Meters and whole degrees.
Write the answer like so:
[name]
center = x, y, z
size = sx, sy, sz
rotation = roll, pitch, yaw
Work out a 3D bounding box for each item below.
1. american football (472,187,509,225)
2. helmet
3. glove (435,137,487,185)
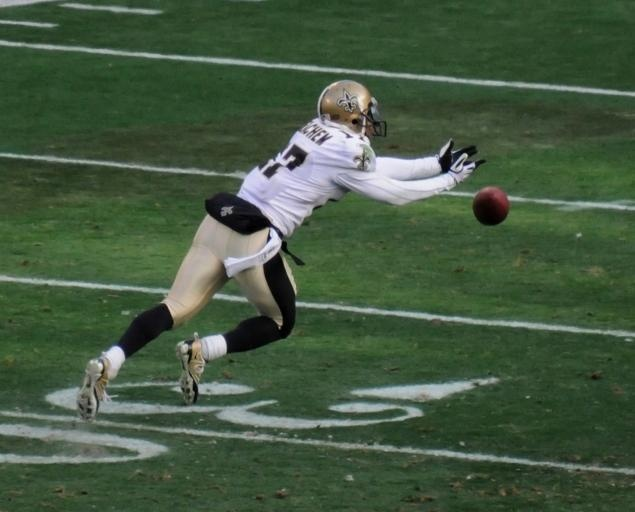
[american football]
center = 1.534, -0.410, 14.331
size = 0.410, 0.320, 0.336
rotation = 0, -2, -6
[helmet]
center = 0.257, -1.217, 13.908
size = 0.641, 0.363, 0.430
rotation = -4, 6, -33
[glove]
center = 1.279, -0.795, 14.138
size = 0.471, 0.181, 0.317
rotation = -35, 70, -15
